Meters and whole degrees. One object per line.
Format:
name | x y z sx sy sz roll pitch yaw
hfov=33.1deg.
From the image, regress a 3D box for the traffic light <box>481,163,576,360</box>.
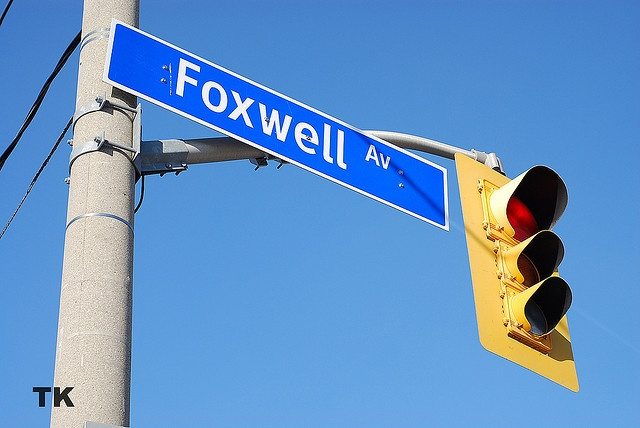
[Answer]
traffic light | 1.663 0.290 8.311 0.666 1.311 0.797 -31 -48 29
